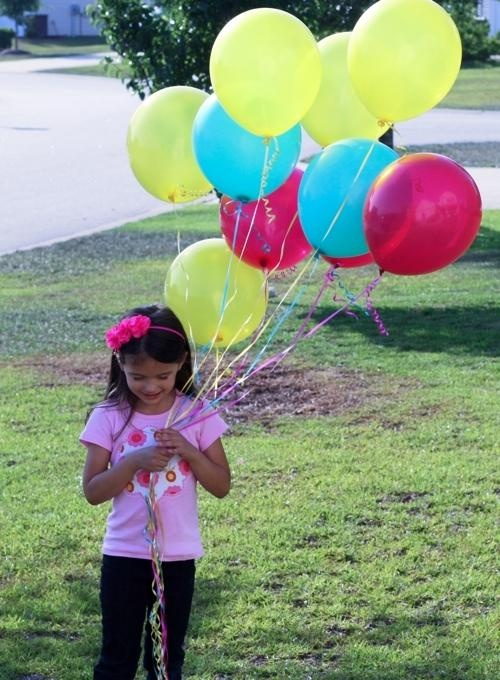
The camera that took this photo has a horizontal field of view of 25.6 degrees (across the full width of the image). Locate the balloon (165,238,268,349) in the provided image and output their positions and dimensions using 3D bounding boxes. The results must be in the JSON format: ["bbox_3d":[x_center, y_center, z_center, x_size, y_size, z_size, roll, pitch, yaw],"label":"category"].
[{"bbox_3d":[-0.165,-0.169,3.972,0.409,0.408,0.375,-1,-12,-10],"label":"balloon"}]

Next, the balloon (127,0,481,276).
[{"bbox_3d":[0.192,-0.678,3.701,1.179,0.881,0.591,3,8,9],"label":"balloon"}]
